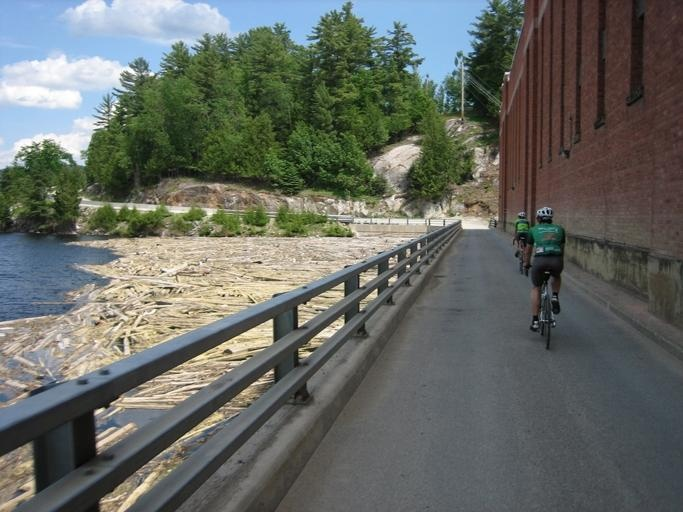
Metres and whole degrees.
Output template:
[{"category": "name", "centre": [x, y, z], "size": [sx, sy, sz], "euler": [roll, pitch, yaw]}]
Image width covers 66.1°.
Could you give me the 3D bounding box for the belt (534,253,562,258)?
[{"category": "belt", "centre": [3.595, -0.036, 9.183], "size": [0.399, 0.056, 0.149], "euler": [0, 5, 21]}]

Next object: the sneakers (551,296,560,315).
[{"category": "sneakers", "centre": [3.583, 0.821, 8.744], "size": [0.157, 0.299, 0.156], "euler": [-11, 12, 11]}]
